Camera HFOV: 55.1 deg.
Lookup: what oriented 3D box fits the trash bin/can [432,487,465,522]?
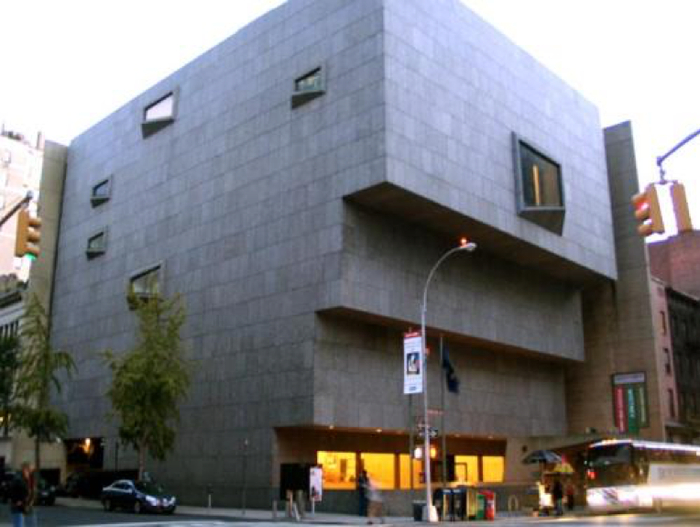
[{"bbox_3d":[5.299,12.676,35.689,0.959,1.636,2.176,-15,-23,34],"label":"trash bin/can"}]

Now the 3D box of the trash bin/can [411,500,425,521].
[{"bbox_3d":[3.551,12.875,35.335,0.971,1.239,0.958,1,-16,2],"label":"trash bin/can"}]

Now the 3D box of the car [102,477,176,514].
[{"bbox_3d":[-12.509,13.551,39.392,5.130,1.914,1.507,-17,-24,36],"label":"car"}]

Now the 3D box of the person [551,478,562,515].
[{"bbox_3d":[12.350,13.799,40.008,0.488,1.997,0.934,-5,-19,11],"label":"person"}]
